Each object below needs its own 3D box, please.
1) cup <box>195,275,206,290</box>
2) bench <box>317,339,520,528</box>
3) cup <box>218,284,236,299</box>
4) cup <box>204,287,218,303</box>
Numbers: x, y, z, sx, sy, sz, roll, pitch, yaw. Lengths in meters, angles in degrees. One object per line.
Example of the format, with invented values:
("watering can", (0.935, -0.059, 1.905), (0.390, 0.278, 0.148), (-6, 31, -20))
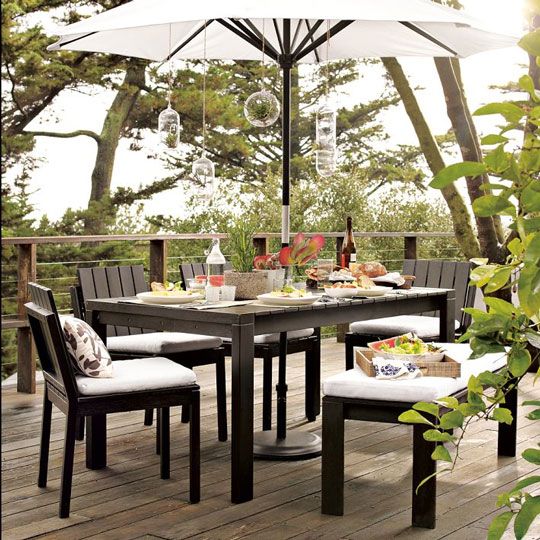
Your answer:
("cup", (-0.344, 0.061, 2.622), (0.069, 0.053, 0.064), (2, -2, 0))
("bench", (0.483, 0.567, 1.810), (0.441, 0.425, 0.983), (0, 0, 32))
("cup", (-0.177, 0.094, 2.282), (0.067, 0.063, 0.059), (0, 3, -20))
("cup", (-0.239, 0.097, 2.197), (0.064, 0.067, 0.068), (0, 2, 0))
